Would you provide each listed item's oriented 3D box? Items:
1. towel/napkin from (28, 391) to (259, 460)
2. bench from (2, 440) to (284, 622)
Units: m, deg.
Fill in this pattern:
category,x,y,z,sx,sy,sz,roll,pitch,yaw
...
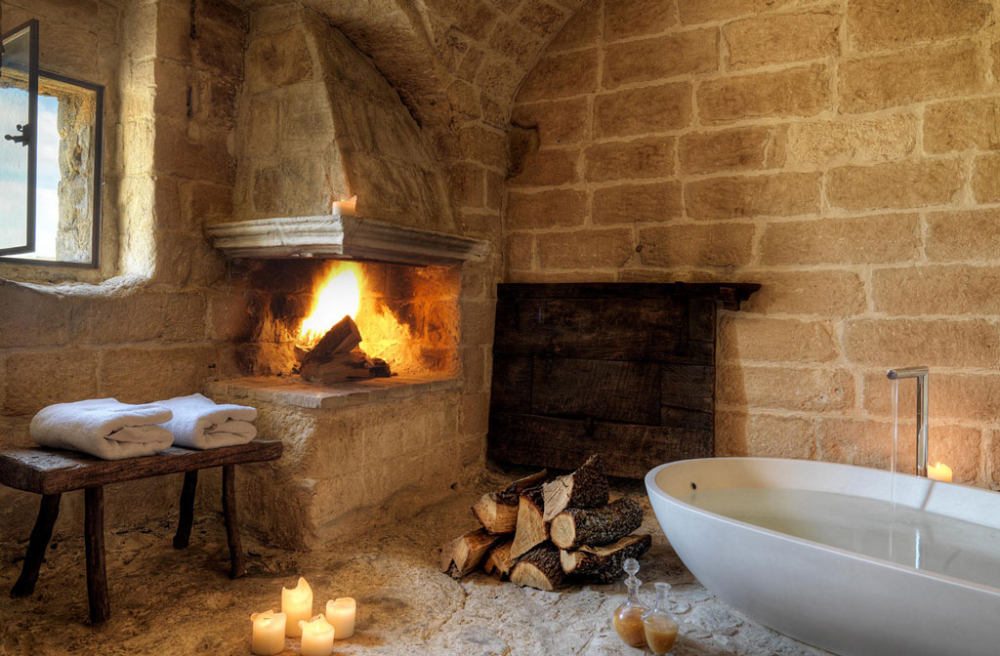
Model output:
category,x,y,z,sx,sy,sz,roll,pitch,yaw
towel/napkin,-1.406,0.406,2.923,0.438,0.113,0.437,2,1,40
bench,-1.524,0.806,3.020,0.924,0.649,0.441,-2,6,-37
